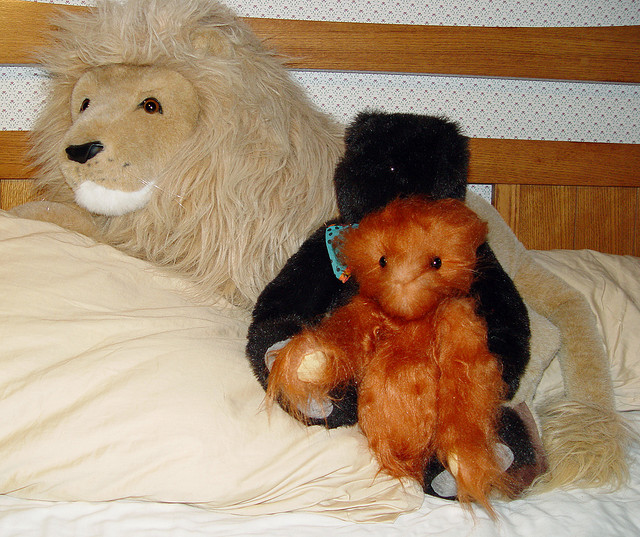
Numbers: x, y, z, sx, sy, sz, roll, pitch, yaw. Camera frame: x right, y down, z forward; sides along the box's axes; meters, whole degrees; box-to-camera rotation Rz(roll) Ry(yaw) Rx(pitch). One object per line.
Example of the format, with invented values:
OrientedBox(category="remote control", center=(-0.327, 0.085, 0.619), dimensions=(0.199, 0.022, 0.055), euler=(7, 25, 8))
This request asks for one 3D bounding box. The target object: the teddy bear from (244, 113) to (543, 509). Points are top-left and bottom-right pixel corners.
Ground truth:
OrientedBox(category="teddy bear", center=(0.131, 0.138, 1.296), dimensions=(0.499, 0.236, 0.610), euler=(9, 64, 0))

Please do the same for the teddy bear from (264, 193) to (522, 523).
OrientedBox(category="teddy bear", center=(0.110, 0.133, 1.161), dimensions=(0.380, 0.422, 0.240), euler=(0, 8, 4))
